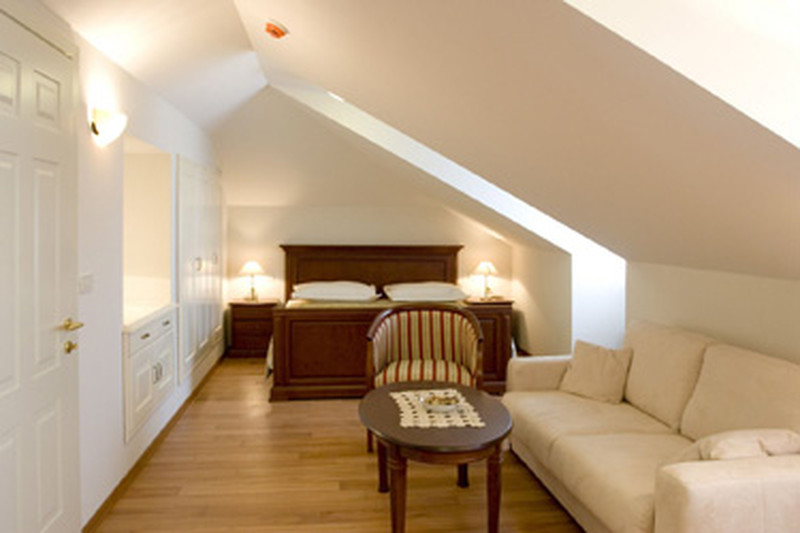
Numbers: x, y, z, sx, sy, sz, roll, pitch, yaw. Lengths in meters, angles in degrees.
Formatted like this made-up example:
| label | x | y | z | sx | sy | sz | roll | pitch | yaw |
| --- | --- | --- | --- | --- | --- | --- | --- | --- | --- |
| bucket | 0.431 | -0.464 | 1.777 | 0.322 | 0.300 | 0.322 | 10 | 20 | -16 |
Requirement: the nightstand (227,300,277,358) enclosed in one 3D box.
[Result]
| label | x | y | z | sx | sy | sz | roll | pitch | yaw |
| --- | --- | --- | --- | --- | --- | --- | --- | --- | --- |
| nightstand | -1.634 | 0.694 | 6.188 | 0.622 | 0.723 | 0.434 | 0 | 4 | -6 |

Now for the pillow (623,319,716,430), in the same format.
| label | x | y | z | sx | sy | sz | roll | pitch | yaw |
| --- | --- | --- | --- | --- | --- | --- | --- | --- | --- |
| pillow | 1.707 | 0.707 | 3.508 | 0.301 | 0.757 | 0.535 | 19 | -8 | -11 |

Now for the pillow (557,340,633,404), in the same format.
| label | x | y | z | sx | sy | sz | roll | pitch | yaw |
| --- | --- | --- | --- | --- | --- | --- | --- | --- | --- |
| pillow | 1.373 | 0.730 | 3.845 | 0.382 | 0.375 | 0.117 | 14 | -5 | 45 |

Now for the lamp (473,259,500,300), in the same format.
| label | x | y | z | sx | sy | sz | roll | pitch | yaw |
| --- | --- | --- | --- | --- | --- | --- | --- | --- | --- |
| lamp | 0.995 | 0.163 | 6.386 | 0.292 | 0.453 | 0.306 | -2 | 2 | 31 |
